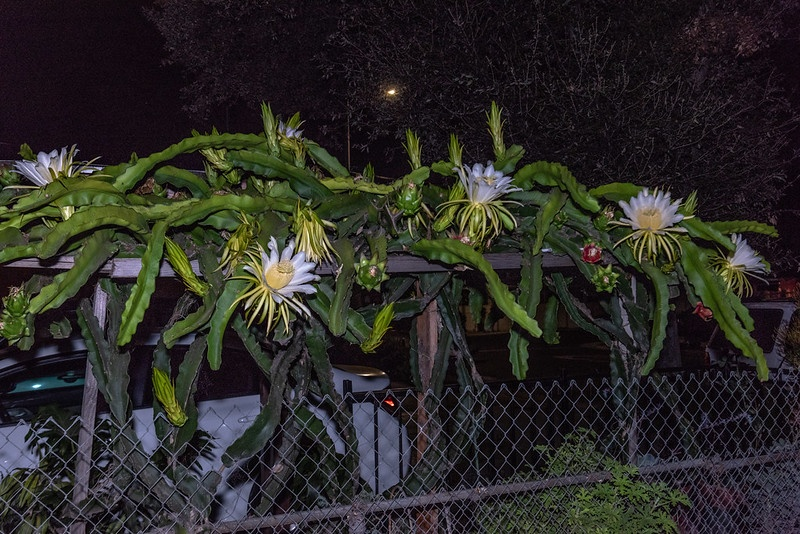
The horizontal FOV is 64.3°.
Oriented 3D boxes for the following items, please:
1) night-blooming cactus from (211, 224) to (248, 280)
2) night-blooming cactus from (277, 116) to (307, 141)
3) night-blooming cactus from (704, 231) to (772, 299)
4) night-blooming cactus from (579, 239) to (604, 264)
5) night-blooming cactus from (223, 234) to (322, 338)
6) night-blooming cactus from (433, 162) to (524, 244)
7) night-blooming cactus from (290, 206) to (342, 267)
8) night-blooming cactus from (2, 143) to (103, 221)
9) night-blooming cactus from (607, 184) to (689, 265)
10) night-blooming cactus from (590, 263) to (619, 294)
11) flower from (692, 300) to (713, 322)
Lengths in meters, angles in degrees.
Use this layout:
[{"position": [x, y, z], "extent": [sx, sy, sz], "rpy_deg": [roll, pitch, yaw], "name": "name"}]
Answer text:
[{"position": [-0.680, -0.083, 2.637], "extent": [0.083, 0.276, 0.075], "rpy_deg": [16, -19, -22], "name": "night-blooming cactus"}, {"position": [-0.505, -0.619, 2.953], "extent": [0.105, 0.107, 0.096], "rpy_deg": [12, -50, -38], "name": "night-blooming cactus"}, {"position": [1.587, -0.012, 3.113], "extent": [0.263, 0.263, 0.264], "rpy_deg": [1, 24, 25], "name": "night-blooming cactus"}, {"position": [0.905, -0.069, 3.014], "extent": [0.099, 0.108, 0.102], "rpy_deg": [1, 7, 10], "name": "night-blooming cactus"}, {"position": [-0.533, 0.130, 2.625], "extent": [0.315, 0.331, 0.335], "rpy_deg": [14, -6, -10], "name": "night-blooming cactus"}, {"position": [0.346, -0.272, 2.878], "extent": [0.412, 0.378, 0.204], "rpy_deg": [-2, 7, -7], "name": "night-blooming cactus"}, {"position": [-0.361, -0.138, 2.653], "extent": [0.161, 0.265, 0.100], "rpy_deg": [-18, -5, -35], "name": "night-blooming cactus"}, {"position": [-1.479, -0.416, 2.726], "extent": [0.326, 0.350, 0.205], "rpy_deg": [15, -39, -32], "name": "night-blooming cactus"}, {"position": [1.148, -0.198, 2.916], "extent": [0.364, 0.243, 0.380], "rpy_deg": [9, -7, 13], "name": "night-blooming cactus"}, {"position": [0.958, 0.046, 2.983], "extent": [0.120, 0.129, 0.058], "rpy_deg": [19, 8, 11], "name": "night-blooming cactus"}, {"position": [1.427, 0.219, 3.010], "extent": [0.035, 0.093, 0.095], "rpy_deg": [-34, 10, 46], "name": "flower"}]
